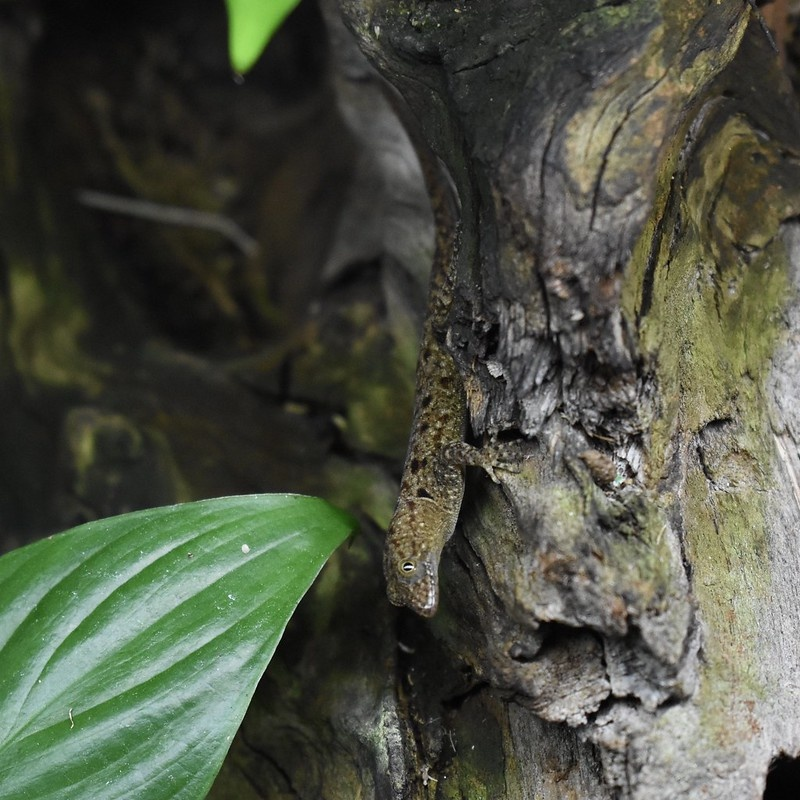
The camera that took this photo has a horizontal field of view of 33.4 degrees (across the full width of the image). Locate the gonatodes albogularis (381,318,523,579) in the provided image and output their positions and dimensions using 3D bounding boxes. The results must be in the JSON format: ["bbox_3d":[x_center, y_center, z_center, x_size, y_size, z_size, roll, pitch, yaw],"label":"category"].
[{"bbox_3d":[0.157,0.248,4.732,0.248,1.093,0.356,7,-31,-7],"label":"gonatodes albogularis"}]
